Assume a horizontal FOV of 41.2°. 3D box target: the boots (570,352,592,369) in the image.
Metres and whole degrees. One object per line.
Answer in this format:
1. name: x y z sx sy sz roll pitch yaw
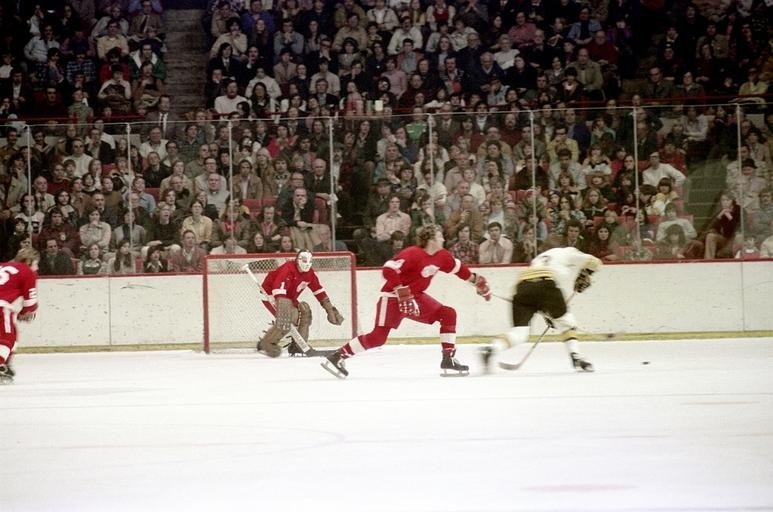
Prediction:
1. boots: 2.600 1.427 13.817 0.135 0.256 0.297 -13 17 -41

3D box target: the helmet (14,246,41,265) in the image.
1. helmet: -5.197 -0.007 14.813 0.345 0.296 0.247 -11 7 -12

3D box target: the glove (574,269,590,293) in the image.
1. glove: 2.792 0.356 14.466 0.080 0.286 0.222 7 25 -41

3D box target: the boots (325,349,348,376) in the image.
1. boots: -0.720 1.452 14.003 0.323 0.370 0.421 -2 13 -5

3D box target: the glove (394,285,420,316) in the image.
1. glove: 0.258 0.637 14.095 0.268 0.421 0.131 -15 19 14

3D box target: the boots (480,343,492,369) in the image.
1. boots: 1.304 1.333 13.667 0.111 0.269 0.202 5 6 -11
